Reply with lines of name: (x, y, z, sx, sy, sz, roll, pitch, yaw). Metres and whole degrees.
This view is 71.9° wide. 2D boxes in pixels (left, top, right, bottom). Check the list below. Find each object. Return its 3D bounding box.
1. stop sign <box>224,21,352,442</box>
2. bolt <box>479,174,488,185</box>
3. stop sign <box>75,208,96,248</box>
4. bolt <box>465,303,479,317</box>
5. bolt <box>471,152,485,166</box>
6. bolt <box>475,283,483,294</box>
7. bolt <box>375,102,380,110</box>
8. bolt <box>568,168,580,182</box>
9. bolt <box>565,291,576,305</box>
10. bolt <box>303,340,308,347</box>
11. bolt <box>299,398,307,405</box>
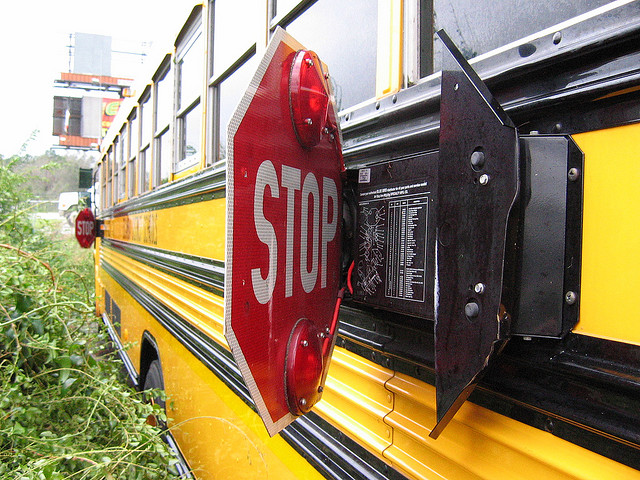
stop sign: (-0.062, -0.032, 1.225, 0.178, 1.051, 0.529, 5, 6, 23)
bolt: (0.356, -0.132, 0.959, 0.006, 0.020, 0.014, 5, -4, -36)
stop sign: (-4.263, -0.212, 7.988, 0.311, 0.726, 0.457, -1, 7, -30)
bolt: (0.331, 0.150, 0.958, 0.010, 0.022, 0.021, -1, -35, -15)
bolt: (0.348, -0.179, 0.968, 0.012, 0.027, 0.023, 0, 14, -35)
bolt: (0.342, 0.102, 0.950, 0.004, 0.020, 0.018, -1, 8, -33)
bolt: (0.176, -0.414, 1.360, 0.004, 0.020, 0.013, 5, 8, -30)
bolt: (0.543, -0.140, 0.942, 0.022, 0.037, 0.017, -1, -9, 21)
bolt: (0.535, 0.122, 0.942, 0.020, 0.028, 0.006, 3, 5, 2)
bolt: (-0.038, 0.273, 1.184, 0.010, 0.022, 0.014, 2, 3, 41)
bolt: (-0.047, 0.433, 1.189, 0.005, 0.019, 0.017, -9, -17, 41)
